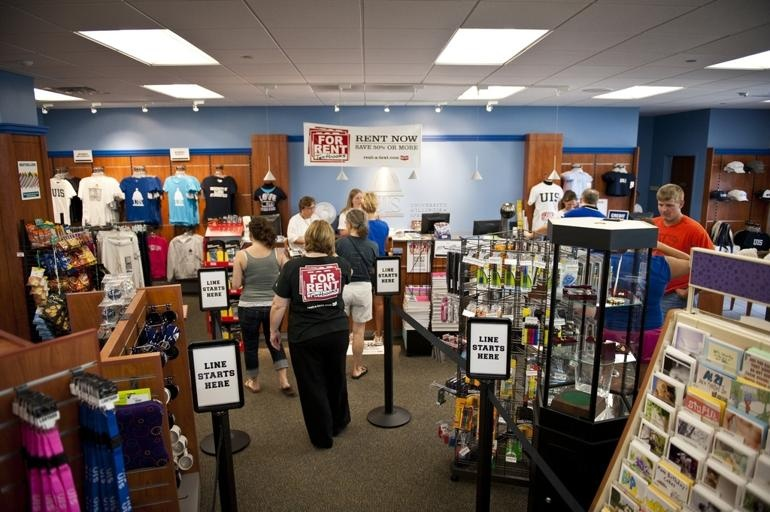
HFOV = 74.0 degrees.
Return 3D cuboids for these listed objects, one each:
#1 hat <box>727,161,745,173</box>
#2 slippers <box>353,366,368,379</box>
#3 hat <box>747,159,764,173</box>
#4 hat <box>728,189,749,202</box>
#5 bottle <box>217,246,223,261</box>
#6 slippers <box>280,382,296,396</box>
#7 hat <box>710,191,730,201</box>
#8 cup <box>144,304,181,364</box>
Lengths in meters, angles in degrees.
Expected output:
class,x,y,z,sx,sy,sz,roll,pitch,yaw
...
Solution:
class,x,y,z,sx,sy,sz,roll,pitch,yaw
hat,7.887,-1.964,11.516,0.253,0.222,0.356,11,17,17
slippers,-0.335,1.529,6.727,0.085,0.093,0.232,4,14,25
hat,8.442,-2.010,11.655,0.334,0.325,0.479,6,12,38
hat,7.993,-1.347,11.646,0.272,0.127,0.355,2,15,3
bottle,-2.323,-0.009,7.172,0.087,0.189,0.049,-5,11,-22
slippers,-1.205,1.667,6.310,0.085,0.118,0.274,1,-9,-25
hat,7.535,-1.337,11.556,0.244,0.135,0.342,-1,9,1
cup,-1.962,0.685,4.541,0.278,0.208,0.481,-4,51,-2
